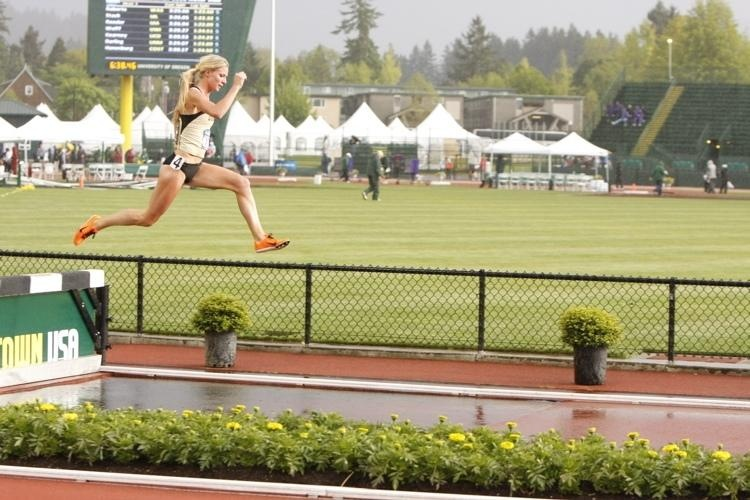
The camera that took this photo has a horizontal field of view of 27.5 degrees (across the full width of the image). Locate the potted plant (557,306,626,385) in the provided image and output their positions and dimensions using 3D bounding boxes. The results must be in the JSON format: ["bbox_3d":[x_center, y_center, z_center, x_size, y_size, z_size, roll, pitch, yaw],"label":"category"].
[{"bbox_3d":[5.083,2.170,34.504,1.720,1.796,1.761,2,-5,-4],"label":"potted plant"}]

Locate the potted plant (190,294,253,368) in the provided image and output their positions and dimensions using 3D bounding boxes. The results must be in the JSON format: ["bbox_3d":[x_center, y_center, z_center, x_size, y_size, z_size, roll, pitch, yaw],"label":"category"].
[{"bbox_3d":[-3.535,1.808,34.846,1.285,1.596,0.464,0,9,-7],"label":"potted plant"}]
